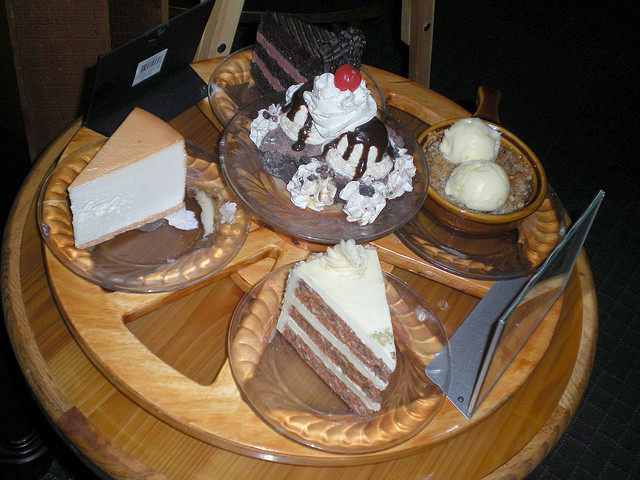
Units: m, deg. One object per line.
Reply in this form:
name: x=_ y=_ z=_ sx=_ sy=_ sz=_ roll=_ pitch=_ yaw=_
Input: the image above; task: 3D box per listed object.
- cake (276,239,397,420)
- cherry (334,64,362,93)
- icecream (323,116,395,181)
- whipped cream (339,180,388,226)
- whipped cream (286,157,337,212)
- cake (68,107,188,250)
cake: x=0.051 y=0.258 z=1.523 sx=0.326 sy=0.343 sz=0.477 roll=-10 pitch=54 yaw=-21
cherry: x=0.094 y=-0.517 z=1.672 sx=0.076 sy=0.081 sz=0.081 roll=-14 pitch=61 yaw=8
icecream: x=0.127 y=-0.350 z=1.774 sx=0.267 sy=0.188 sz=0.249 roll=6 pitch=44 yaw=0
whipped cream: x=0.138 y=-0.111 z=1.581 sx=0.122 sy=0.054 sz=0.140 roll=11 pitch=77 yaw=-1
whipped cream: x=-0.023 y=-0.171 z=1.603 sx=0.152 sy=0.059 sz=0.165 roll=9 pitch=73 yaw=-8
cake: x=-0.656 y=-0.187 z=1.673 sx=0.262 sy=0.268 sz=0.438 roll=32 pitch=56 yaw=18
